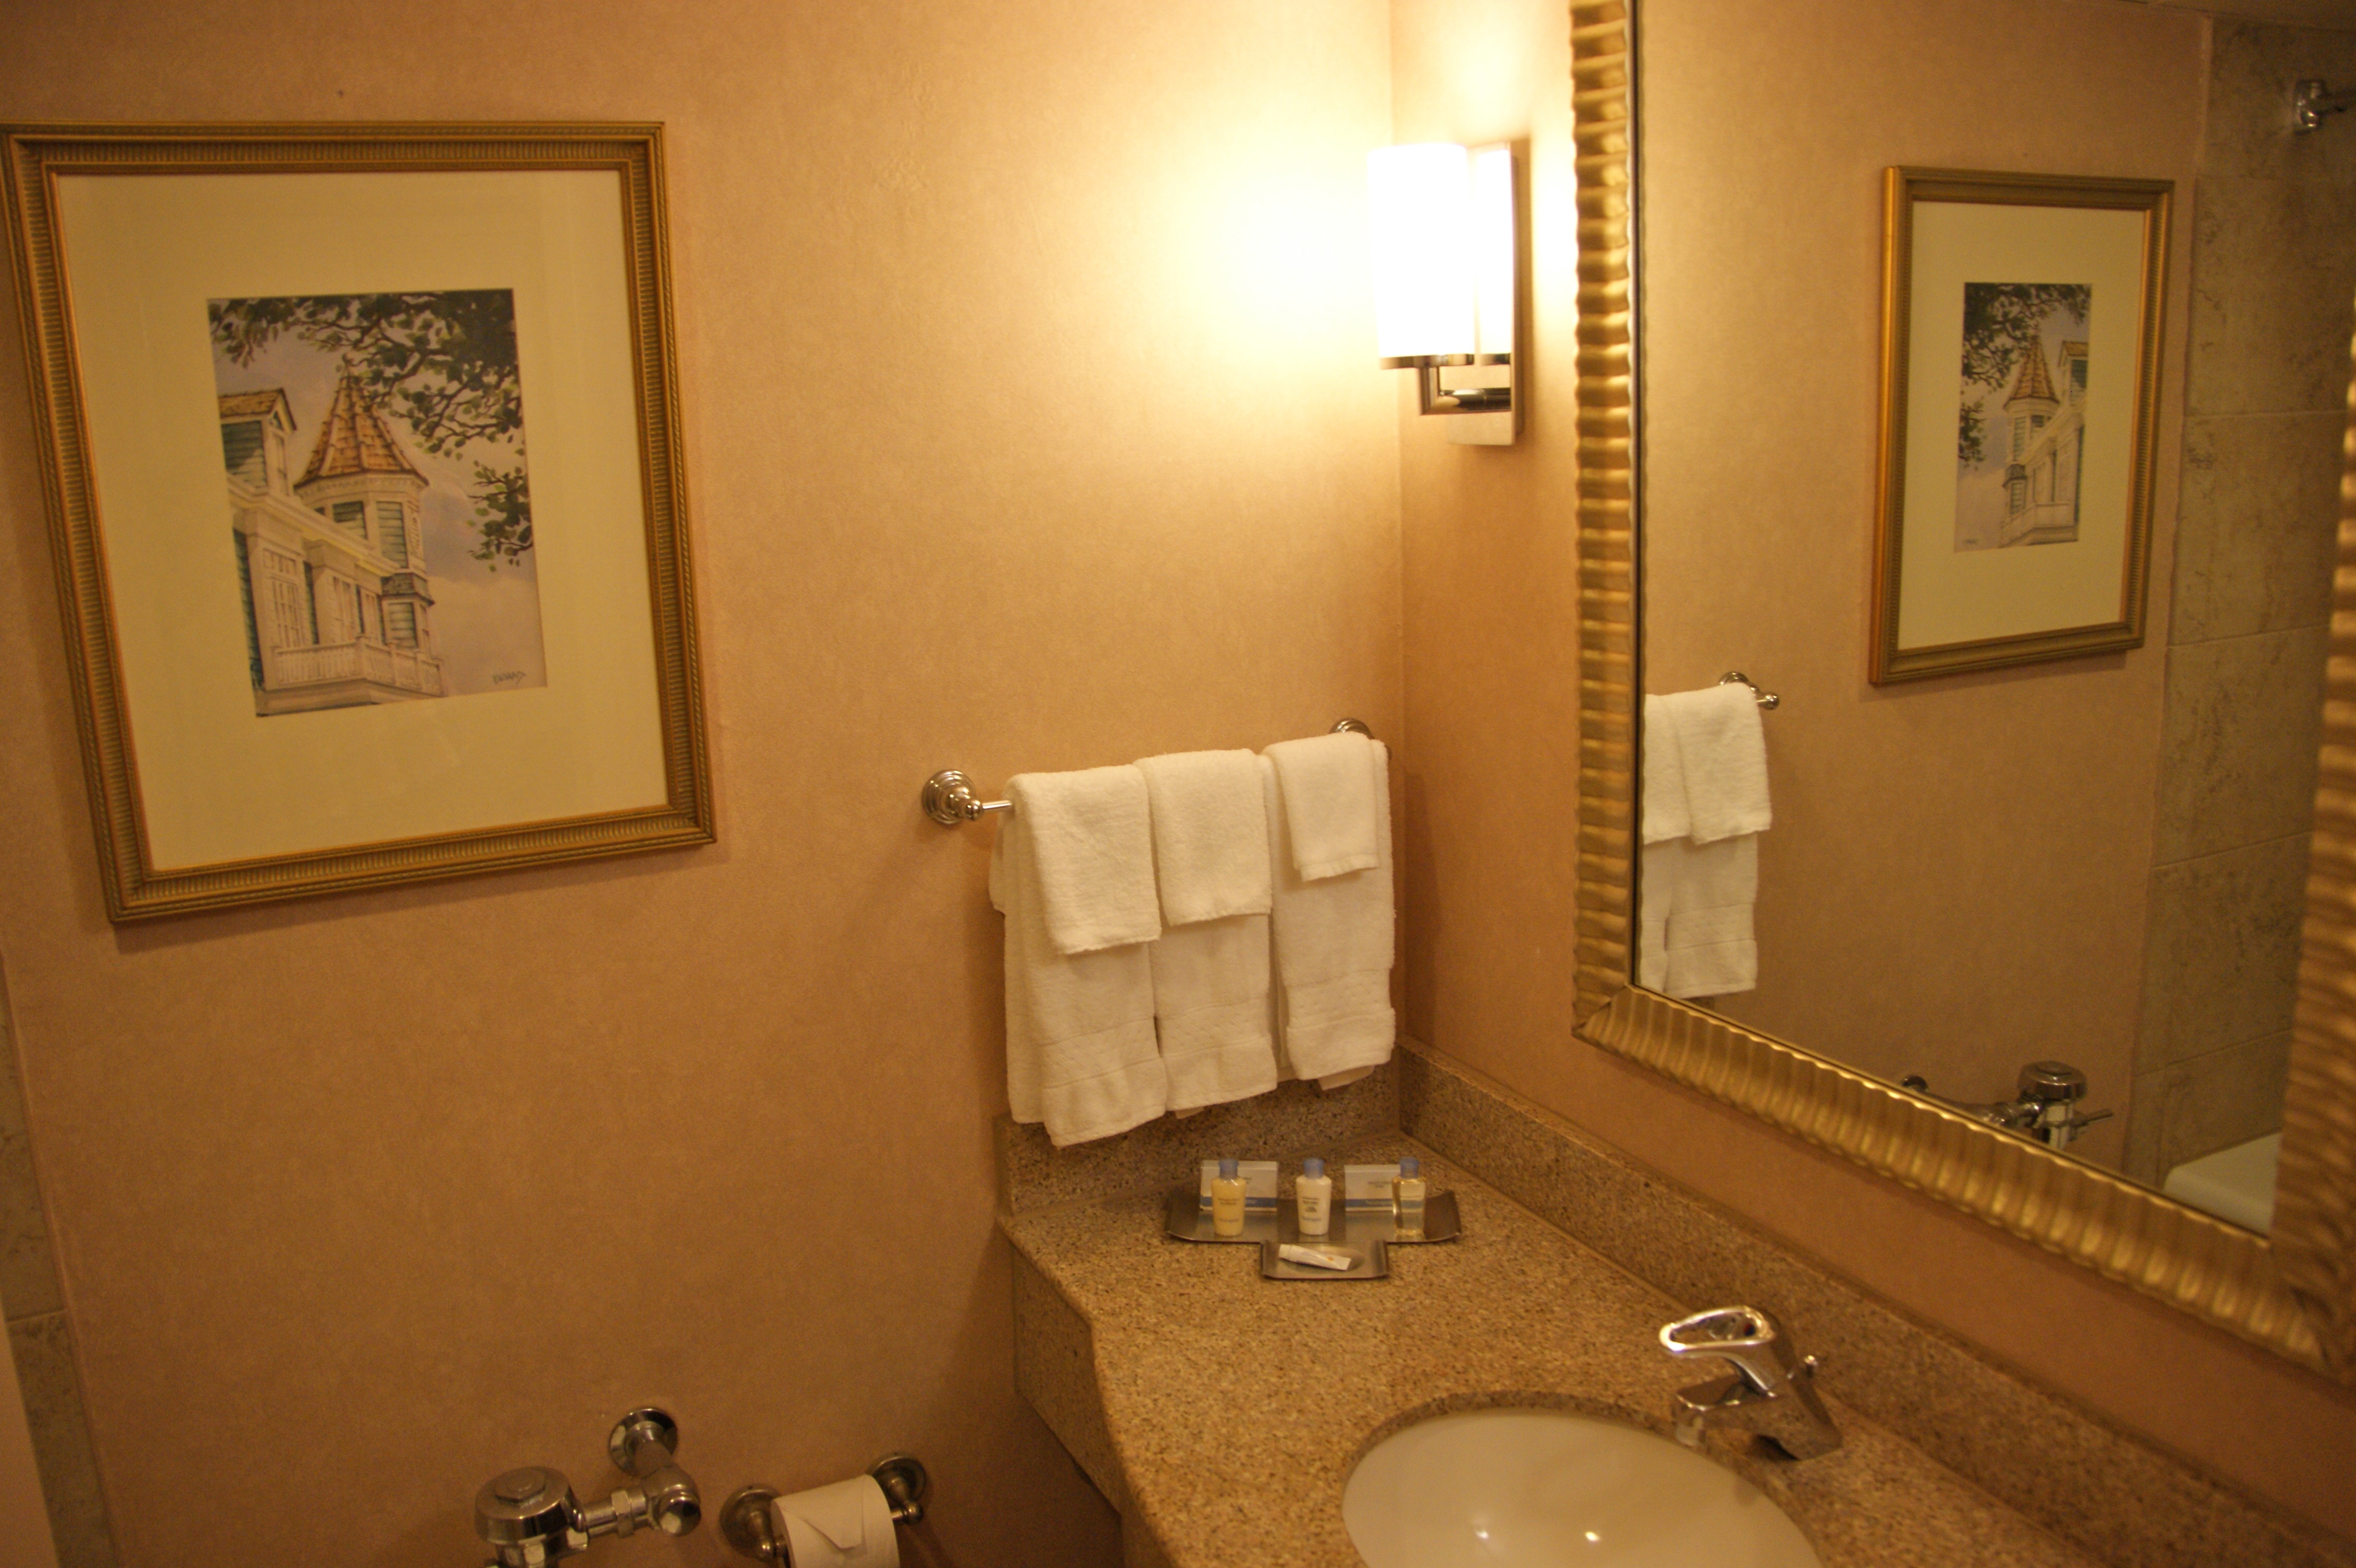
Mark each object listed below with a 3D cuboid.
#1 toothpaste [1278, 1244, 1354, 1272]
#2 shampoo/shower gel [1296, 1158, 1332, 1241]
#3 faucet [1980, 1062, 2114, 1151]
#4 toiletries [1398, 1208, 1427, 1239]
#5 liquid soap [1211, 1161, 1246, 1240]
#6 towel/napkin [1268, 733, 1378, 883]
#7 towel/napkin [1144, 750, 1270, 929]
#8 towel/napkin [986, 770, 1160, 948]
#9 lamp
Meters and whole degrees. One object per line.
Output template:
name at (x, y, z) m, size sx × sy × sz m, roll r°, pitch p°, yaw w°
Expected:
toothpaste at (0.197, 0.671, 2.629) m, size 0.107 × 0.025 × 0.057 m, roll -1°, pitch 14°, yaw 11°
shampoo/shower gel at (0.196, 0.602, 2.672) m, size 0.049 × 0.116 × 0.044 m, roll -6°, pitch 15°, yaw -8°
faucet at (0.996, 0.368, 2.106) m, size 0.104 × 0.105 × 0.064 m, roll -2°, pitch 6°, yaw -11°
toiletries at (0.342, 0.643, 2.686) m, size 0.037 × 0.037 × 0.027 m, roll 1°, pitch -1°, yaw -5°
liquid soap at (0.071, 0.609, 2.720) m, size 0.049 × 0.095 × 0.076 m, roll -4°, pitch 15°, yaw 0°
towel/napkin at (0.216, 0.038, 2.803) m, size 0.186 × 0.205 × 0.073 m, roll -8°, pitch 5°, yaw -27°
towel/napkin at (0.049, 0.075, 2.723) m, size 0.189 × 0.250 × 0.078 m, roll -7°, pitch 5°, yaw -24°
towel/napkin at (-0.127, 0.103, 2.659) m, size 0.205 × 0.249 × 0.077 m, roll -8°, pitch 5°, yaw -26°
lamp at (0.392, -0.693, 2.603) m, size 0.193 × 0.418 × 0.182 m, roll 3°, pitch 16°, yaw 23°
